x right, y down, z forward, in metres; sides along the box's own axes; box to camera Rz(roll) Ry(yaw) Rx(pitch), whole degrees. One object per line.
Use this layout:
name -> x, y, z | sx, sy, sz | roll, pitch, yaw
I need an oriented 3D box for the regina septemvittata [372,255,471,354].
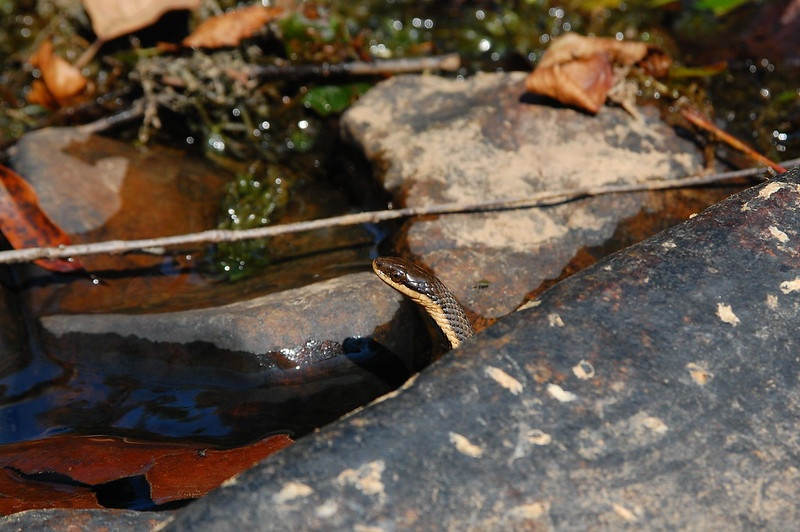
regina septemvittata -> 0.141, 0.287, 5.583 | 0.724, 0.209, 0.180 | 34, 47, -1
